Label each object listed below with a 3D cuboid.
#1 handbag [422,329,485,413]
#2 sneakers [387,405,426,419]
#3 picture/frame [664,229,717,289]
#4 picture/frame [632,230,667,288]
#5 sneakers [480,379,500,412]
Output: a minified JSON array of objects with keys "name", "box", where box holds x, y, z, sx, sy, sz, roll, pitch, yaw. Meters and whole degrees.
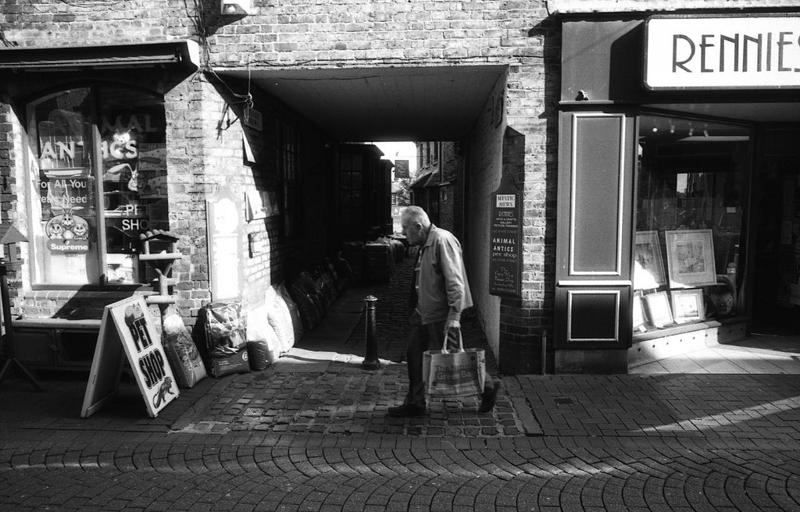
[{"name":"handbag","box":[0.685,1.406,10.028,0.730,0.937,0.352,-2,9,3]},{"name":"sneakers","box":[0.091,2.027,10.318,0.510,0.216,0.188,4,8,-1]},{"name":"picture/frame","box":[4.727,0.029,12.609,0.921,0.905,0.070,-6,5,-23]},{"name":"picture/frame","box":[3.895,0.036,12.083,0.069,0.934,0.903,-4,-5,39]},{"name":"sneakers","box":[1.213,1.848,10.335,0.185,0.551,0.235,9,10,11]}]
